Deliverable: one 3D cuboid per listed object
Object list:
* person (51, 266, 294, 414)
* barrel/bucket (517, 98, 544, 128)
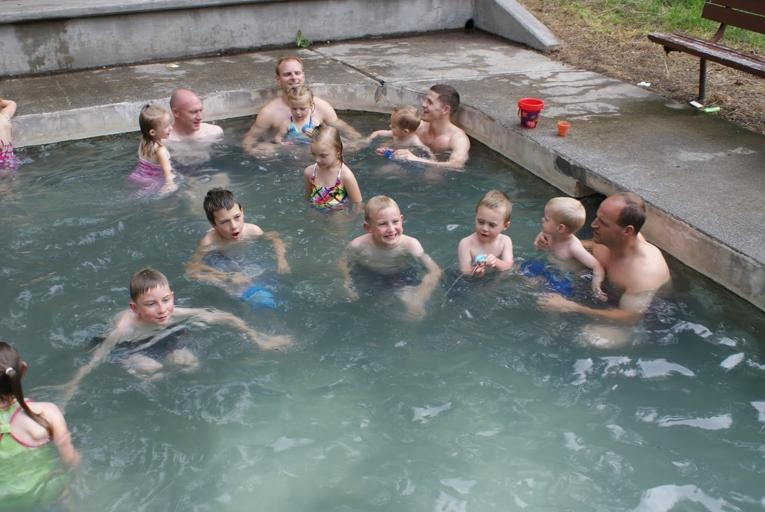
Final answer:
[{"bbox_3d":[-1.828,0.552,4.954,2.120,0.660,0.629,-9,18,-28],"label":"person"},{"bbox_3d":[1.704,-1.671,7.214,0.246,0.309,0.289,5,34,10],"label":"barrel/bucket"}]
